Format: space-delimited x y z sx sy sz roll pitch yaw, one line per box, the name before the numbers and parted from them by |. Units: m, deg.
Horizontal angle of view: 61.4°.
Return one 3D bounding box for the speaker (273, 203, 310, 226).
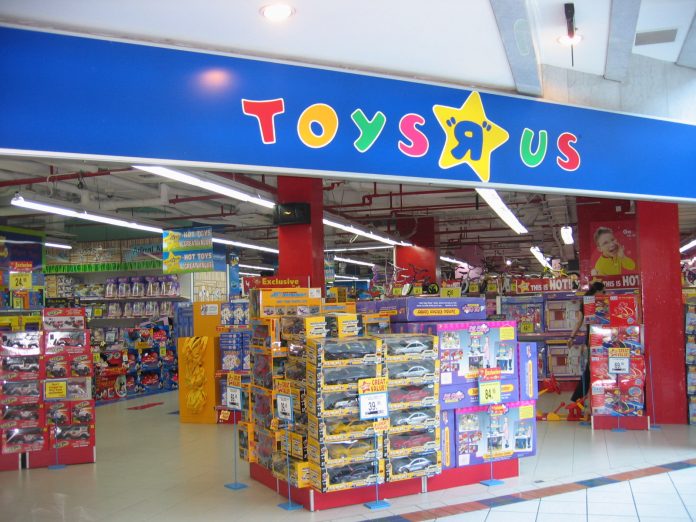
speaker | -0.942 -0.795 9.775 0.646 0.400 0.360 0 -3 15
